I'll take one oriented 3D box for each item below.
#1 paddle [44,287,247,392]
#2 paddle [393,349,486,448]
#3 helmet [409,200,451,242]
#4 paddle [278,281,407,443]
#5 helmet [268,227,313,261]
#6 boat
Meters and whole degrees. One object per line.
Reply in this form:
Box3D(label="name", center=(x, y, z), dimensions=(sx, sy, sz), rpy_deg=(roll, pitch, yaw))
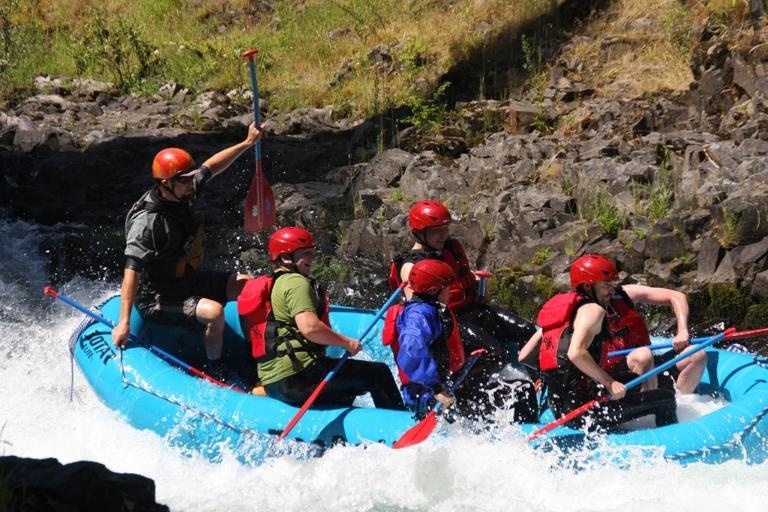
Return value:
Box3D(label="paddle", center=(-3.366, 1.279, 17.350), dimensions=(2.561, 0.121, 0.227), rpy_deg=(31, 55, 6))
Box3D(label="paddle", center=(0.754, 1.988, 16.273), dimensions=(0.319, 0.080, 1.605), rpy_deg=(37, 82, 25))
Box3D(label="helmet", center=(0.678, -0.533, 17.312), dimensions=(0.569, 0.634, 0.452), rpy_deg=(-14, -2, 27))
Box3D(label="paddle", center=(-0.606, 1.586, 16.652), dimensions=(0.233, 0.160, 2.528), rpy_deg=(33, 76, 6))
Box3D(label="helmet", center=(-1.337, -0.160, 16.757), dimensions=(0.575, 0.542, 0.540), rpy_deg=(6, 8, -21))
Box3D(label="boat", center=(0.228, 2.242, 16.664), dimensions=(7.251, 1.528, 3.950), rpy_deg=(7, 11, 10))
